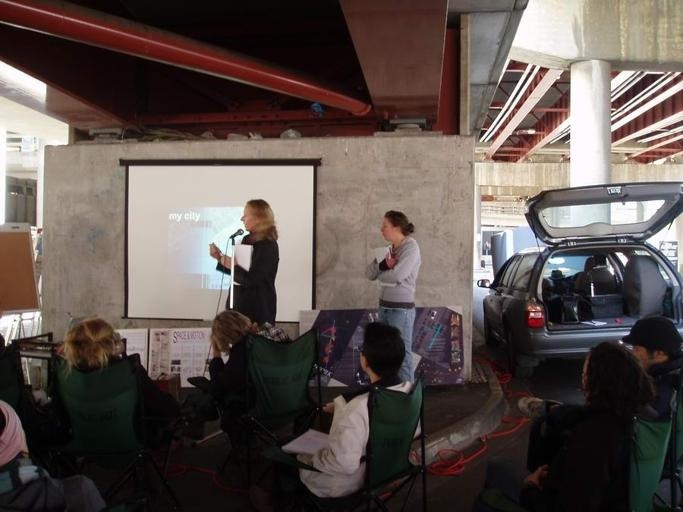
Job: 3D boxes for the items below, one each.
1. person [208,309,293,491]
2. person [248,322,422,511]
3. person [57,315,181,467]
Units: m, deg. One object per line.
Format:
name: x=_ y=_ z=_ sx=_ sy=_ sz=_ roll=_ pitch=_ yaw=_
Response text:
person: x=-0.936 y=1.237 z=5.182 sx=0.550 sy=1.659 sz=0.521 roll=8 pitch=26 yaw=16
person: x=0.152 y=1.260 z=4.675 sx=1.235 sy=1.469 sz=1.037 roll=-5 pitch=-16 yaw=42
person: x=-1.909 y=0.931 z=4.720 sx=0.871 sy=1.261 sz=0.790 roll=-6 pitch=17 yaw=-25
